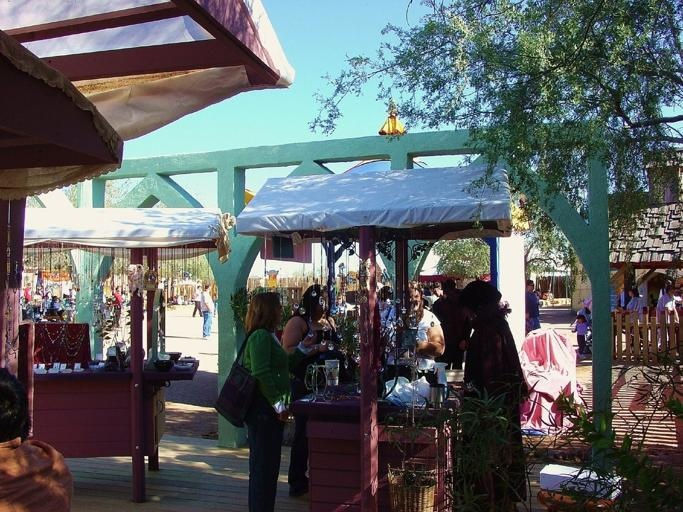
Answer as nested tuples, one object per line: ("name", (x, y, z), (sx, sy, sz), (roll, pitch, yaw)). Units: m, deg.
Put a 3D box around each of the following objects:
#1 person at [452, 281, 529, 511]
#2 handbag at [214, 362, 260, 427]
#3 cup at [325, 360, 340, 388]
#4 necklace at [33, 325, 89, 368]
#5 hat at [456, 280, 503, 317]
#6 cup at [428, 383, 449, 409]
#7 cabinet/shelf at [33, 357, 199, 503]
("person", (1.202, 1.278, 5.165), (0.552, 1.618, 1.910), (-1, -1, 15))
("handbag", (-0.852, 1.136, 5.184), (0.321, 0.505, 0.234), (-1, -1, -17))
("cup", (-0.089, 1.018, 5.545), (0.157, 0.267, 0.173), (0, -10, 0))
("necklace", (-2.897, 0.912, 6.646), (0.531, 0.487, 0.401), (1, -9, -8))
("hat", (1.241, 0.398, 5.784), (0.324, 0.380, 0.289), (-1, 7, 7))
("cup", (0.750, 1.090, 4.980), (0.161, 0.195, 0.110), (6, -8, -33))
("cabinet/shelf", (-2.419, 1.724, 6.933), (1.187, 0.897, 1.329), (-1, -6, 1))
